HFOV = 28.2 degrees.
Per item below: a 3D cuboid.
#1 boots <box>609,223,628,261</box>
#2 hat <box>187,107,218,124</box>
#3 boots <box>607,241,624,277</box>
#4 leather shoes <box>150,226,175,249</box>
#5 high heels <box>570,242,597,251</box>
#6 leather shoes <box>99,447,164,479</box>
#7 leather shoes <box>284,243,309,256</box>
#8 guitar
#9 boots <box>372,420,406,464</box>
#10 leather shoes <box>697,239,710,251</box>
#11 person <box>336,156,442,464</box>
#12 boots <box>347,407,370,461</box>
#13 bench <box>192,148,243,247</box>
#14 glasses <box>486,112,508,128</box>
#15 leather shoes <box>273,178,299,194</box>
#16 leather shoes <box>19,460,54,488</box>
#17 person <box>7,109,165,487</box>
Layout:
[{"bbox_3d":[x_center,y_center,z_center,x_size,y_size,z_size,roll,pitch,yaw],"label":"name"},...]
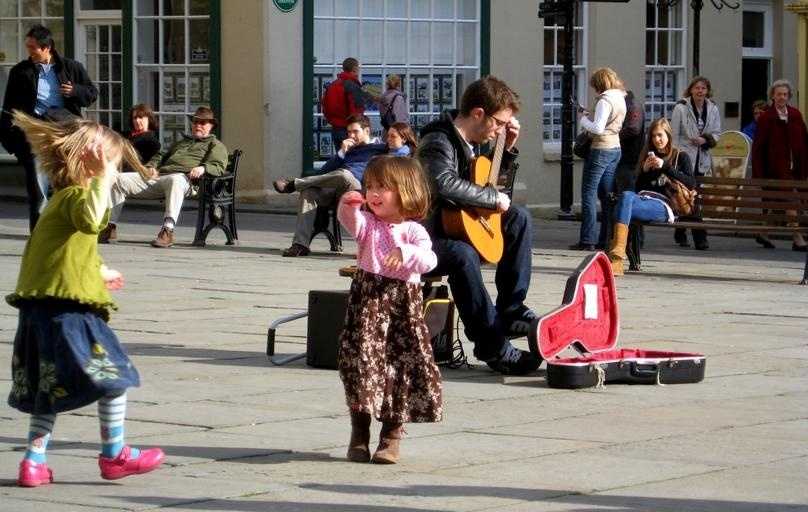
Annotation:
[{"bbox_3d":[2.444,-0.163,18.293,0.220,0.390,0.549,6,2,7],"label":"boots"},{"bbox_3d":[-2.495,-1.804,20.326,0.306,0.132,0.357,10,-6,7],"label":"hat"},{"bbox_3d":[2.396,0.033,18.111,0.177,0.333,0.445,2,14,7],"label":"boots"},{"bbox_3d":[-2.935,-0.217,19.558,0.149,0.172,0.371,6,-1,13],"label":"leather shoes"},{"bbox_3d":[2.235,-0.134,20.028,0.302,0.115,0.110,4,5,28],"label":"high heels"},{"bbox_3d":[-1.969,1.468,11.556,0.418,0.162,0.222,-11,9,-26],"label":"leather shoes"},{"bbox_3d":[-1.299,-0.082,19.024,0.352,0.128,0.126,5,2,15],"label":"leather shoes"},{"bbox_3d":[0.580,-0.536,13.627,0.189,0.568,1.404,-11,41,35],"label":"guitar"},{"bbox_3d":[-0.124,1.339,11.951,0.211,0.296,0.281,1,14,3],"label":"boots"},{"bbox_3d":[3.849,-0.146,20.588,0.080,0.085,0.216,3,8,28],"label":"leather shoes"},{"bbox_3d":[-0.106,0.371,11.948,0.753,2.178,0.739,-1,14,-3],"label":"person"},{"bbox_3d":[-0.333,1.314,11.944,0.192,0.394,0.429,1,16,-2],"label":"boots"},{"bbox_3d":[-2.335,-0.739,20.054,0.608,1.196,1.071,-1,14,-6],"label":"bench"},{"bbox_3d":[0.815,-1.147,13.625,0.197,0.108,0.089,-11,17,-39],"label":"glasses"},{"bbox_3d":[-1.393,-0.837,18.849,0.134,0.167,0.384,52,24,22],"label":"leather shoes"},{"bbox_3d":[-2.622,1.538,11.510,0.129,0.129,0.294,2,1,14],"label":"leather shoes"},{"bbox_3d":[-2.423,0.293,11.600,0.898,2.520,0.882,-3,14,-14],"label":"person"}]
